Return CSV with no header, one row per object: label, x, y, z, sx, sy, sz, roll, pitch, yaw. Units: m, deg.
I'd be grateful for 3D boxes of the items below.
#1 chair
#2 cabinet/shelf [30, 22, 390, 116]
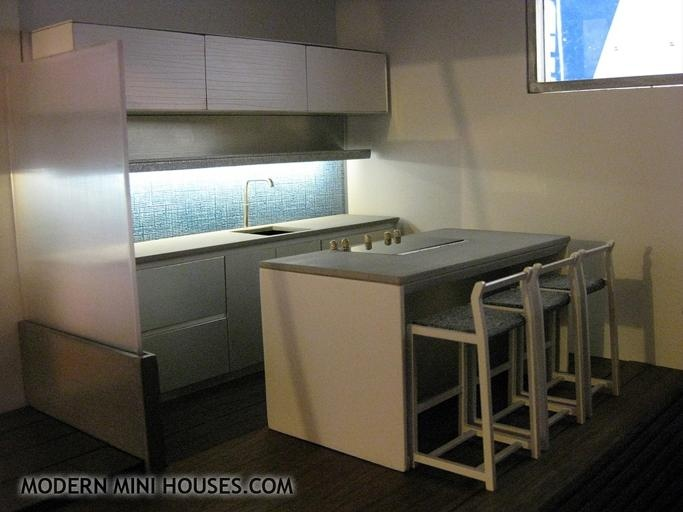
chair,0.917,0.638,3.064,0.342,0.732,1.141,7,12,39
cabinet/shelf,-0.700,-1.393,4.181,2.728,0.587,0.308,-10,13,-39
